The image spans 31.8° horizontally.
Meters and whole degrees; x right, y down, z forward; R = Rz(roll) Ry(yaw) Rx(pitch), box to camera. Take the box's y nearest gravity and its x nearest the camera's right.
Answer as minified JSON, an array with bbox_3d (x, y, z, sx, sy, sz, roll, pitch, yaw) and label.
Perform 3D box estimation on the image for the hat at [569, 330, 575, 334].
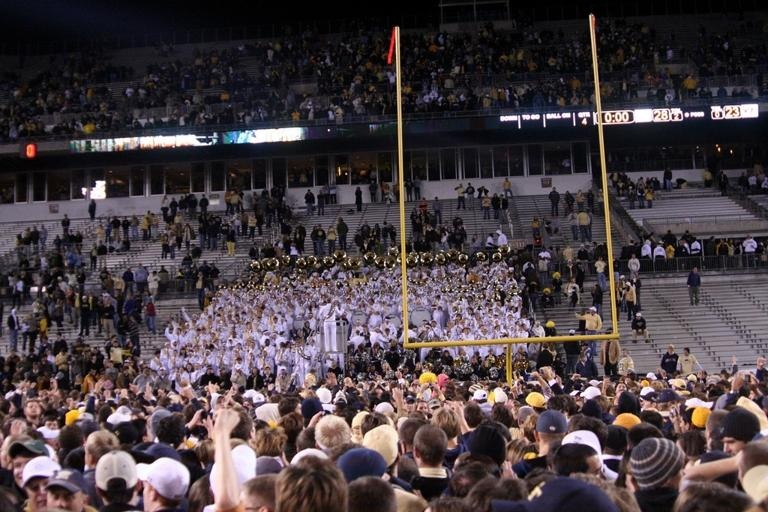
[{"bbox_3d":[7.870,3.003,55.941,0.183,0.070,0.259,3,8,11],"label":"hat"}]

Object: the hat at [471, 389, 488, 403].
[{"bbox_3d":[3.155,4.472,44.298,0.546,0.377,1.008,-4,-2,4],"label":"hat"}]

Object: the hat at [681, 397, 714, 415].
[{"bbox_3d":[10.077,4.600,43.102,0.897,0.333,1.166,-4,-2,13],"label":"hat"}]

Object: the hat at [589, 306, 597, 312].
[{"bbox_3d":[8.455,2.012,54.264,0.254,0.127,0.349,5,-17,9],"label":"hat"}]
